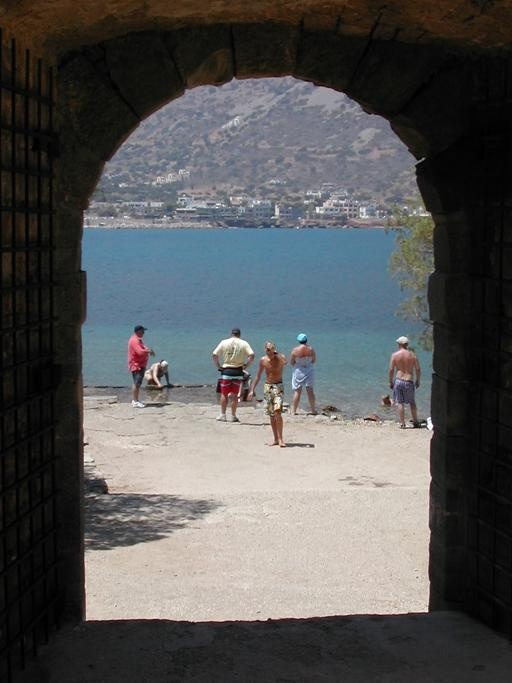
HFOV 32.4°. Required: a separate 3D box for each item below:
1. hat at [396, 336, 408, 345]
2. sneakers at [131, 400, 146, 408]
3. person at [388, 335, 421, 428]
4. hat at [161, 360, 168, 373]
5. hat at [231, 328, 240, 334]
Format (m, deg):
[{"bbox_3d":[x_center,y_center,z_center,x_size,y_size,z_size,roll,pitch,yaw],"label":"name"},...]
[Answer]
[{"bbox_3d":[1.739,-0.032,10.394,0.125,0.075,0.155,0,-9,0],"label":"hat"},{"bbox_3d":[-1.633,0.880,12.279,0.219,0.092,0.076,4,24,12],"label":"sneakers"},{"bbox_3d":[1.853,0.534,10.965,0.368,1.194,1.364,-1,2,10],"label":"person"},{"bbox_3d":[-1.520,0.399,14.704,0.108,0.140,0.069,7,-23,1],"label":"hat"},{"bbox_3d":[-0.210,-0.129,9.858,0.081,0.094,0.097,2,-32,-8],"label":"hat"}]
